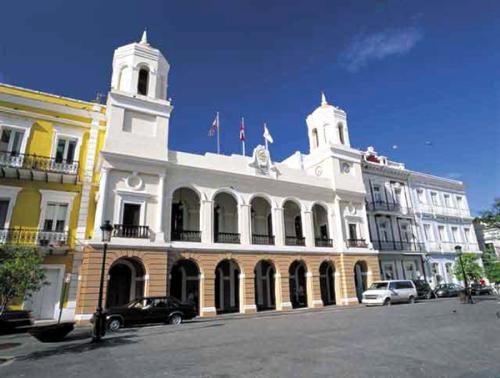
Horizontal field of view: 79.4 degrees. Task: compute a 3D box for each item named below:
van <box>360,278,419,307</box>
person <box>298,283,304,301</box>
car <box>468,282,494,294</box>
[{"bbox_3d":[10.502,7.911,22.755,3.991,1.625,2.099,17,-34,-25],"label":"van"},{"bbox_3d":[4.612,9.232,26.883,0.798,1.461,0.829,-3,-14,14],"label":"person"},{"bbox_3d":[23.512,10.222,30.723,2.120,0.903,1.266,0,-11,-1],"label":"car"}]
